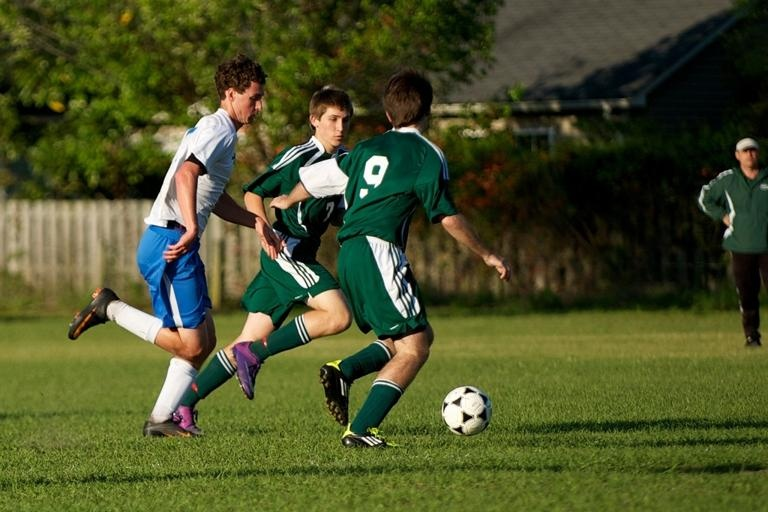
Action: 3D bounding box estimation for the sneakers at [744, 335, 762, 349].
[{"bbox_3d":[3.515,0.808,13.857,0.163,0.106,0.088,4,13,28],"label":"sneakers"}]

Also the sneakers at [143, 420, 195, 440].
[{"bbox_3d":[-1.915,1.534,13.017,0.461,0.189,0.164,1,-3,-3],"label":"sneakers"}]

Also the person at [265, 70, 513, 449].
[{"bbox_3d":[0.067,-0.002,12.566,1.502,3.103,0.886,-3,11,-4],"label":"person"}]

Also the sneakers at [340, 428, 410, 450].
[{"bbox_3d":[-0.056,1.547,12.461,0.553,0.230,0.184,0,-3,1],"label":"sneakers"}]

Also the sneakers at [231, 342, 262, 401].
[{"bbox_3d":[-1.209,0.986,13.041,0.276,0.551,0.185,-12,-1,6],"label":"sneakers"}]

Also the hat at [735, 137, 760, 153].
[{"bbox_3d":[3.339,-1.028,13.408,0.125,0.093,0.162,-5,-18,5],"label":"hat"}]

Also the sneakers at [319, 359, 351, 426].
[{"bbox_3d":[-0.416,1.187,12.590,0.252,0.589,0.213,-5,12,-13],"label":"sneakers"}]
